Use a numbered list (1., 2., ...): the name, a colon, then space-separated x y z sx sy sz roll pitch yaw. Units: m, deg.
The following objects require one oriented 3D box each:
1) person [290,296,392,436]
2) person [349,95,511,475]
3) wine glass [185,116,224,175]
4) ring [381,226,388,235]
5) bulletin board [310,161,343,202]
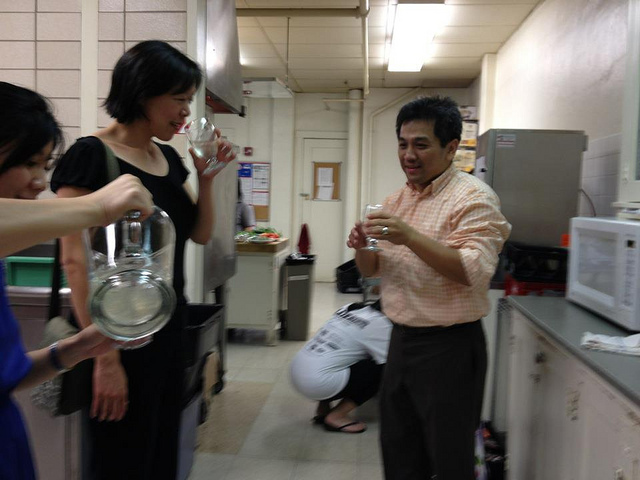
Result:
1. person: 0.212 0.798 3.203 0.829 0.837 0.630 4 -2 -34
2. person: 0.390 0.173 1.775 0.550 1.421 0.422 5 10 27
3. wine glass: -0.430 -0.340 1.761 0.126 0.207 0.123 -6 6 3
4. ring: 0.222 -0.034 1.603 0.024 0.025 0.018 4 3 5
5. bulletin board: 0.136 -1.248 8.556 0.485 0.813 0.661 5 41 5
